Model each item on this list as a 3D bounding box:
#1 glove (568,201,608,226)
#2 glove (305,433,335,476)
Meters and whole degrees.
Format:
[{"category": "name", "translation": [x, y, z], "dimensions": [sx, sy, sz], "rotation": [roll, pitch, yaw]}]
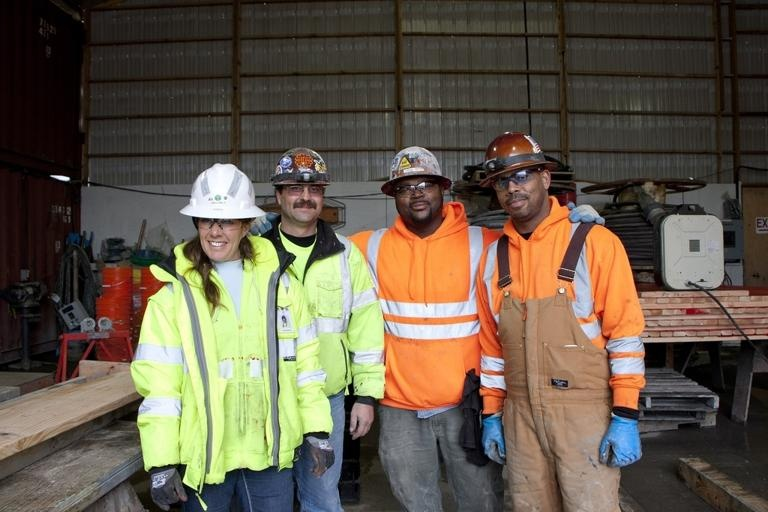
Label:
[{"category": "glove", "translation": [2.477, -0.517, 9.782], "dimensions": [0.320, 0.151, 0.339], "rotation": [13, 12, 13]}, {"category": "glove", "translation": [-0.768, 2.352, 9.632], "dimensions": [0.342, 0.517, 0.235], "rotation": [-2, -2, -2]}]
